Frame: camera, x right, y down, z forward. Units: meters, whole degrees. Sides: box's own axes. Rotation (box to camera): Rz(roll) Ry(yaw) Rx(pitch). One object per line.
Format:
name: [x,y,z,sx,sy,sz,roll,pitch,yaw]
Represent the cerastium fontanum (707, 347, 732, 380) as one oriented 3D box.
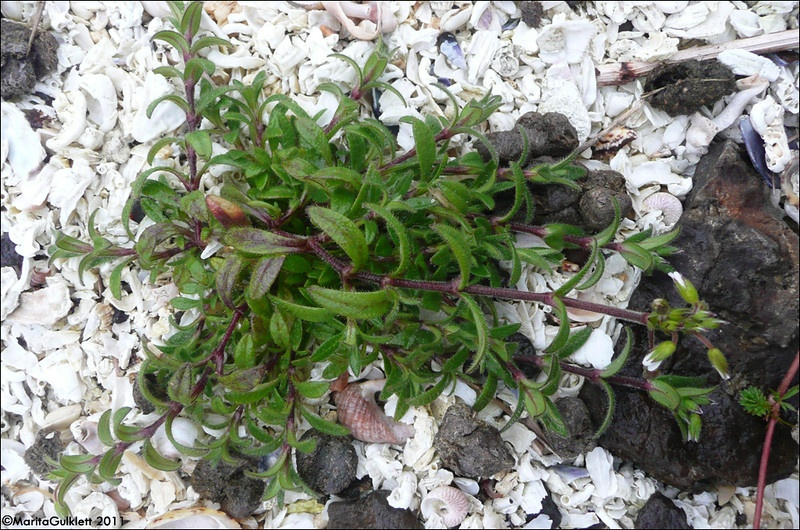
cerastium fontanum: [1.165,0.359,2.815,0.074,0.044,0.147,-25,110,-8]
